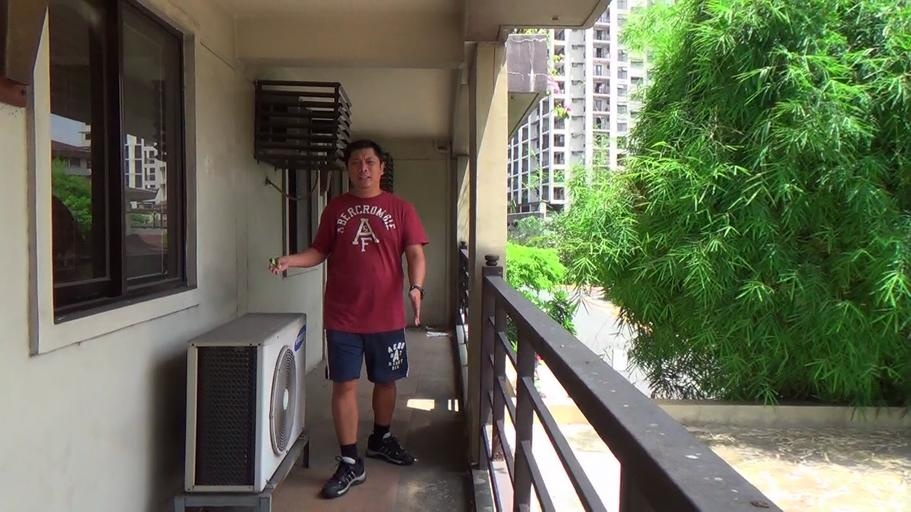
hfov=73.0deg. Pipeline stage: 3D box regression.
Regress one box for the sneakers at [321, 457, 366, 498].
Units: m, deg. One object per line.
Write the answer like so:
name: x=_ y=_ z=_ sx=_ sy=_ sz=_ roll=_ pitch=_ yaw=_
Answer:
sneakers: x=-0.904 y=1.750 z=4.953 sx=0.170 sy=0.252 sz=0.442 roll=3 pitch=5 yaw=32

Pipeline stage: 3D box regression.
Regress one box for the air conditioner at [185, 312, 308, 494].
air conditioner: x=-1.711 y=1.191 z=5.191 sx=0.631 sy=1.137 sz=1.489 roll=1 pitch=-1 yaw=-4
